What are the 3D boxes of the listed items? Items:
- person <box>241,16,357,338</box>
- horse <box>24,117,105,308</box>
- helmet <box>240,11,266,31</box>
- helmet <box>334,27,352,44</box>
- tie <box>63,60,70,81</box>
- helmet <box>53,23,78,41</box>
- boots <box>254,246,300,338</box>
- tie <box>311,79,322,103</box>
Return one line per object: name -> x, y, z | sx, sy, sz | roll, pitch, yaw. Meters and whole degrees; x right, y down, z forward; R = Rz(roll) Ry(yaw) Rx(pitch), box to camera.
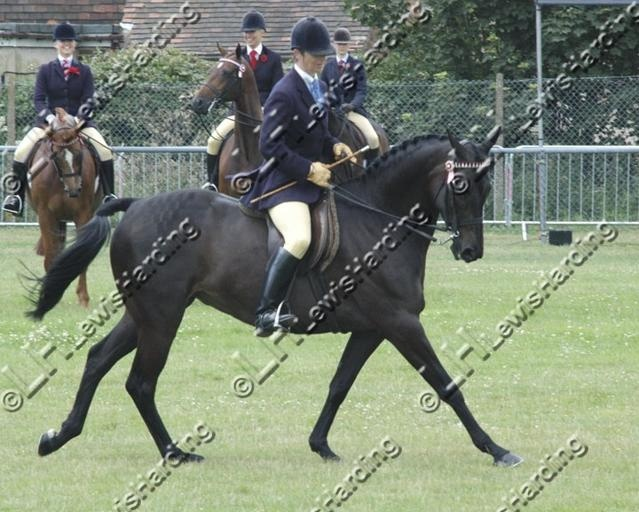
person -> -0.244, -0.727, 13.254 | 1.060, 2.904, 1.283 | 3, 10, 14
horse -> -3.286, -0.645, 18.575 | 0.866, 2.388, 3.508 | -1, 4, -10
helmet -> -0.791, -2.852, 17.190 | 0.207, 0.175, 0.301 | 5, 14, 10
helmet -> 0.298, -2.922, 18.904 | 0.291, 0.186, 0.391 | 1, 17, 4
tie -> -3.225, -2.393, 18.189 | 0.061, 0.208, 0.154 | 11, -14, -39
helmet -> -3.225, -2.869, 18.050 | 0.219, 0.154, 0.294 | -3, 4, -20
boots -> -0.375, 0.351, 12.914 | 0.360, 0.851, 0.292 | 5, 11, -2
tie -> -0.024, -1.545, 13.236 | 0.049, 0.205, 0.125 | 1, 1, 27
